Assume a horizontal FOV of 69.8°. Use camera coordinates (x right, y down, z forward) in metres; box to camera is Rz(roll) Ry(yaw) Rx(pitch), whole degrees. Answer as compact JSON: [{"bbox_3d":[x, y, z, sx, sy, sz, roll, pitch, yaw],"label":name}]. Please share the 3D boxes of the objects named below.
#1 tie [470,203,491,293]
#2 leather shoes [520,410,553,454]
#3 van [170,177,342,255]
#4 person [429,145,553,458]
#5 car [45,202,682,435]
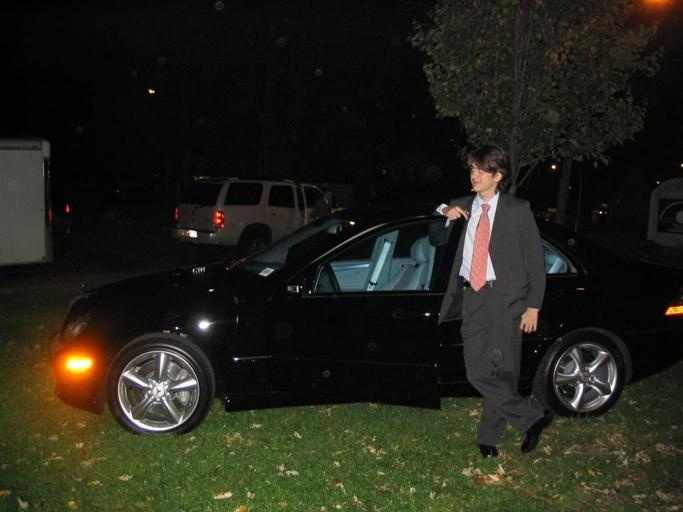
[{"bbox_3d":[1.074,-0.074,3.806,0.136,0.664,0.129,2,8,7],"label":"tie"},{"bbox_3d":[1.592,1.443,4.035,0.178,0.400,0.125,47,-10,-34],"label":"leather shoes"},{"bbox_3d":[-2.421,-1.411,14.239,3.734,1.712,2.182,-15,20,-37],"label":"van"},{"bbox_3d":[1.210,0.392,3.883,0.780,2.485,0.281,4,9,25],"label":"person"},{"bbox_3d":[0.314,0.619,5.053,5.573,1.952,2.457,2,2,-3],"label":"car"}]
